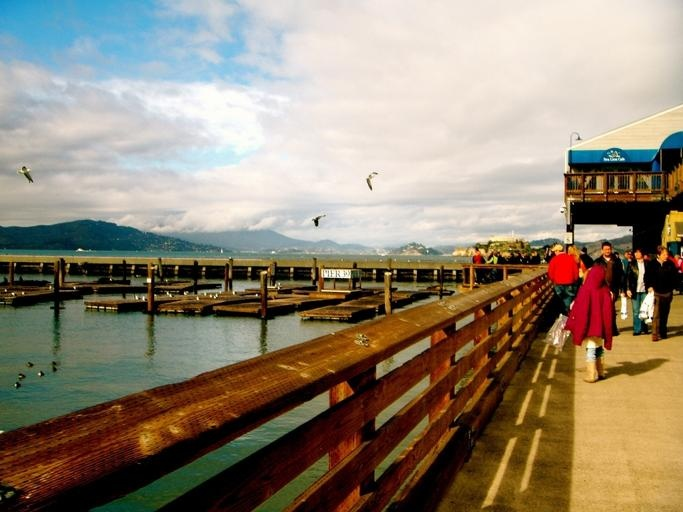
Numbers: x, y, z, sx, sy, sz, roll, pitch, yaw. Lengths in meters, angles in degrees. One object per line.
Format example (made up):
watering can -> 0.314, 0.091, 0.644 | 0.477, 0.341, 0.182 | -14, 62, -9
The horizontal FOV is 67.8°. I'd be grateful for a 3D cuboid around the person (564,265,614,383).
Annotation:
person -> 3.463, 0.928, 7.115 | 0.592, 1.587, 0.526 | 1, 2, 20
